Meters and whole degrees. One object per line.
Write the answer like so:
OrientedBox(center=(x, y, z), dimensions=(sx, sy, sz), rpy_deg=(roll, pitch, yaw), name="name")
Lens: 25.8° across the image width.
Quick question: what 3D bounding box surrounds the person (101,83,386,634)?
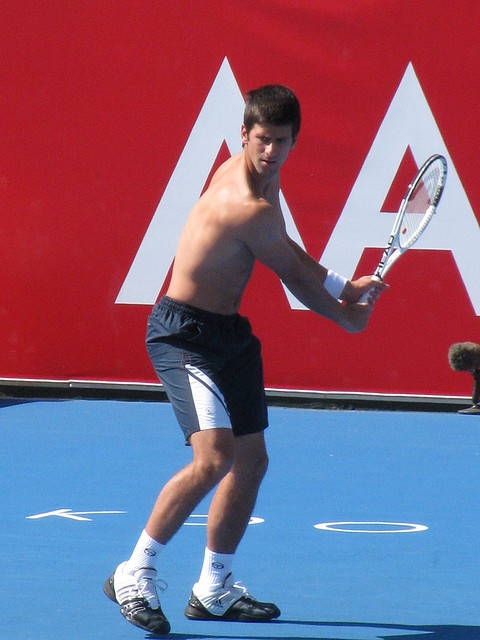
OrientedBox(center=(-0.002, 0.167, 3.944), dimensions=(0.732, 1.832, 0.507), rpy_deg=(17, 5, -6), name="person")
